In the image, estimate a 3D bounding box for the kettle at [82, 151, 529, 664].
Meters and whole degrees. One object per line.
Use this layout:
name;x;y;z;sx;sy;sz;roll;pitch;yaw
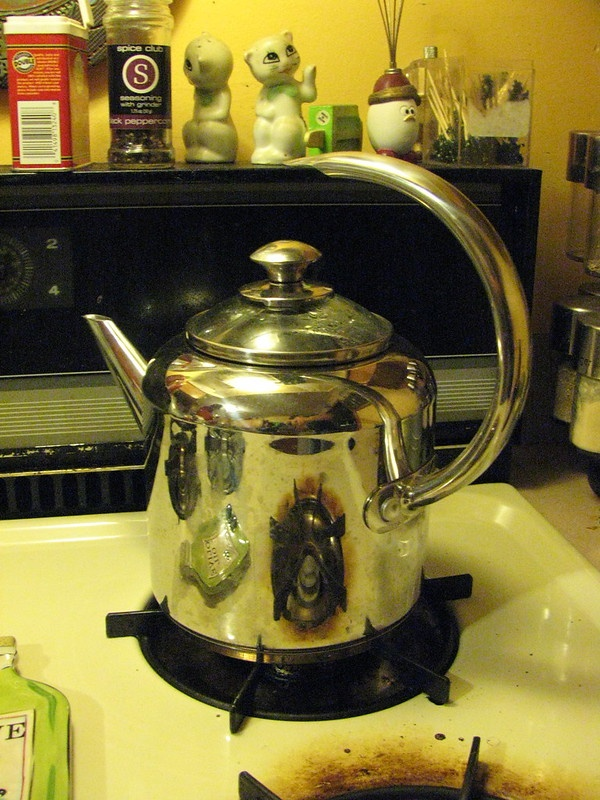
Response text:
kettle;-0.004;-0.008;0.481;0.329;0.317;0.198;12;20;35

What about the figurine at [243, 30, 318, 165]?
figurine;-0.020;-0.304;0.691;0.071;0.126;0.038;0;12;-4

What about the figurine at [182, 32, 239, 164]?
figurine;-0.096;-0.307;0.714;0.054;0.119;0.103;-1;12;-10

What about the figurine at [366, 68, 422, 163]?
figurine;0.092;-0.284;0.685;0.065;0.093;0.067;-21;29;-33
